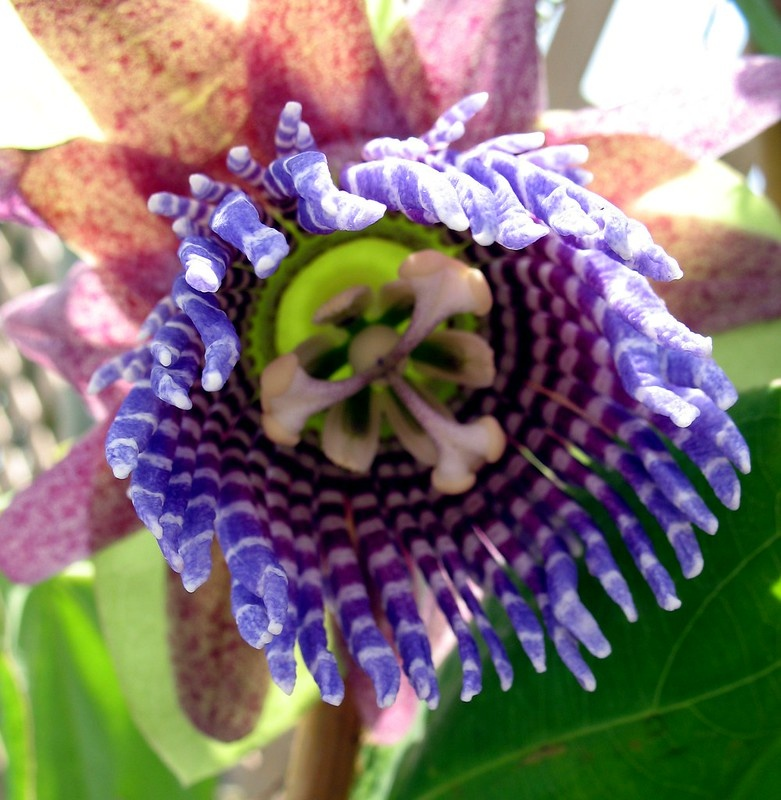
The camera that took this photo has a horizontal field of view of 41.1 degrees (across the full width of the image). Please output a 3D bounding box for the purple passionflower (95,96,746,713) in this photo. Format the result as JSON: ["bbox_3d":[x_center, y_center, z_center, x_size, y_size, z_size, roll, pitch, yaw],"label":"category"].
[{"bbox_3d":[0.026,-0.002,0.569,0.336,0.263,0.284,3,-67,-14],"label":"purple passionflower"}]
